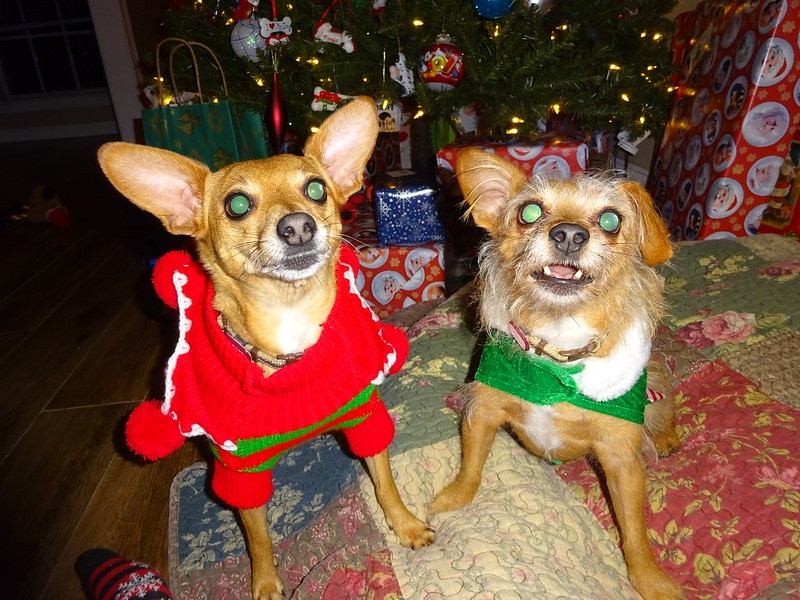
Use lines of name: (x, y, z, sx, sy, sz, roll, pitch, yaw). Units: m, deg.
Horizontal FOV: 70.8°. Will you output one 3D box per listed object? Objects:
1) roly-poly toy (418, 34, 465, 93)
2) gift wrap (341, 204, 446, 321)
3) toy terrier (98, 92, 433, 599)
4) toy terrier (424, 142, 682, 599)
roly-poly toy: (0.247, -1.410, 3.386, 0.284, 0.335, 0.281, 3, 12, -14)
gift wrap: (-0.062, -0.297, 4.339, 0.734, 0.699, 0.580, 1, 28, -12)
toy terrier: (-0.480, 0.412, 2.597, 1.228, 2.201, 1.272, -3, 35, -23)
toy terrier: (0.705, 0.071, 2.666, 1.206, 1.712, 1.633, 7, 24, 15)
